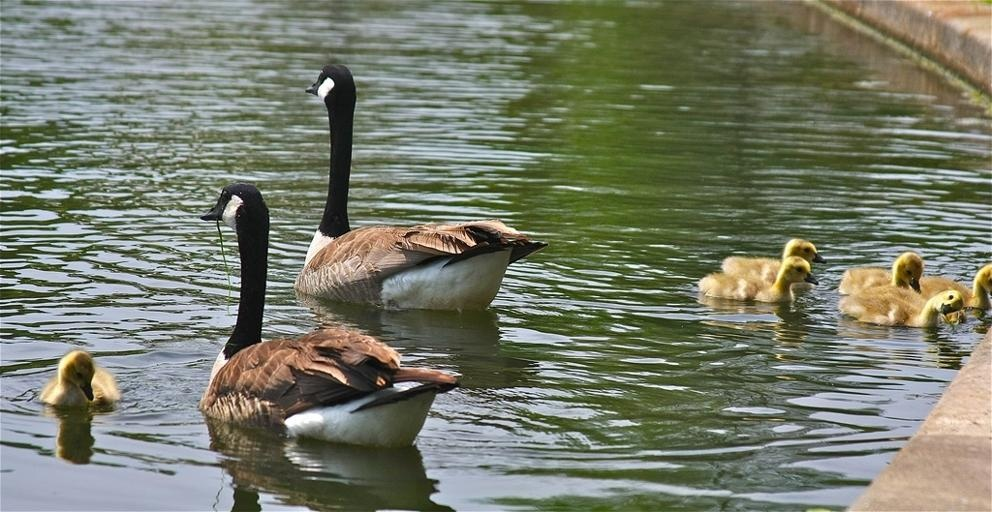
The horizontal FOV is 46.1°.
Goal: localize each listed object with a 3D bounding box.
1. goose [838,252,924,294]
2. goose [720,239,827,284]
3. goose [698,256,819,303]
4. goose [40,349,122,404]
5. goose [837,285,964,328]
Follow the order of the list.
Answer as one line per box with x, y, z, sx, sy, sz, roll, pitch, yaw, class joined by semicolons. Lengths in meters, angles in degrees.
6.031;0.367;17.691;0.954;0.583;1.240;-12;14;-28;goose
4.204;0.060;17.949;2.294;0.480;0.564;0;13;14;goose
4.006;0.343;17.629;1.710;0.706;0.515;5;6;6;goose
-5.307;1.566;14.820;0.891;0.451;1.043;1;4;-16;goose
5.975;0.742;16.988;1.545;0.312;0.814;5;6;28;goose
